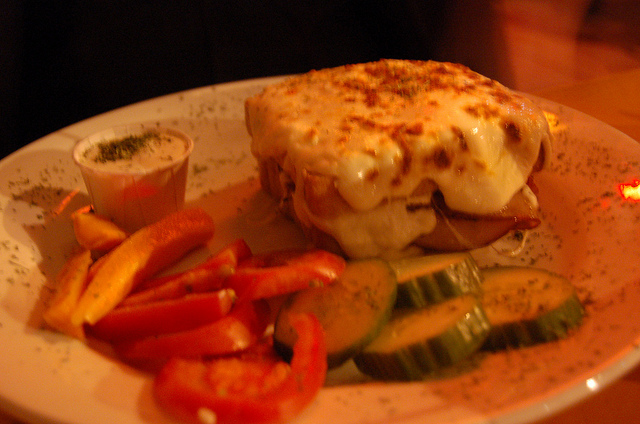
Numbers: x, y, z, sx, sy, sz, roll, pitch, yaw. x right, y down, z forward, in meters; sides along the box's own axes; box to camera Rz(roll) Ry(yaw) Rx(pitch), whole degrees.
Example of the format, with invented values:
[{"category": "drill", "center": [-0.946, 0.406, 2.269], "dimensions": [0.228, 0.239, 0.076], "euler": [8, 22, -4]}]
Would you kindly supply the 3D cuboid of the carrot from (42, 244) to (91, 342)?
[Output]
[{"category": "carrot", "center": [-1.240, 0.389, 2.807], "dimensions": [0.174, 0.096, 0.516], "euler": [-8, 56, -4]}]
